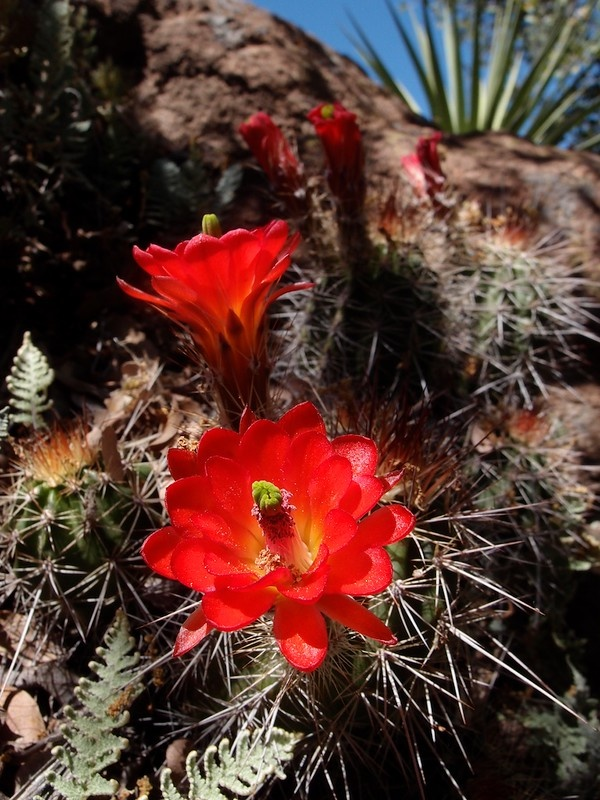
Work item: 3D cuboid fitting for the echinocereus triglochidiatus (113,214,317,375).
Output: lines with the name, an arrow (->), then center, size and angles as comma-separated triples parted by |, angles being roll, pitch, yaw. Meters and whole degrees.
echinocereus triglochidiatus -> -0.100, -0.132, 1.036 | 0.229, 0.224, 0.182 | -20, 89, -31

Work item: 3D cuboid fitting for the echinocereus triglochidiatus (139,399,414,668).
echinocereus triglochidiatus -> -0.024, 0.144, 0.849 | 0.304, 0.147, 0.308 | 7, 71, 6
